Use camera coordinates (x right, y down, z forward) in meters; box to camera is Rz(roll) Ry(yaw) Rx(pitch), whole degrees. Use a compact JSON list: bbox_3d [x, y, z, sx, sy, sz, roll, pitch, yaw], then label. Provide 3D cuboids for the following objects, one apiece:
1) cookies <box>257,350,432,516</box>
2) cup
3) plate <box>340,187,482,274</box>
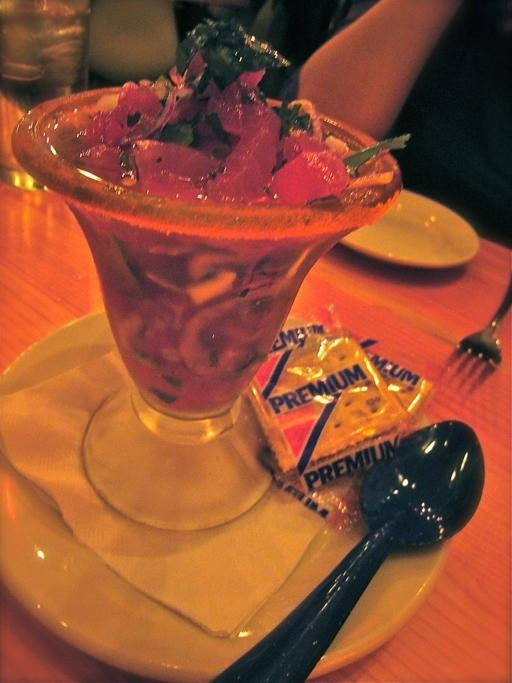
[{"bbox_3d":[0.094,0.105,0.922,0.214,0.053,0.212,27,40,18],"label":"cookies"},{"bbox_3d":[-0.063,-0.051,0.929,0.515,0.365,0.505,14,32,-9],"label":"cup"},{"bbox_3d":[0.366,-0.212,1.477,0.262,0.041,0.252,-10,35,-17],"label":"plate"}]
